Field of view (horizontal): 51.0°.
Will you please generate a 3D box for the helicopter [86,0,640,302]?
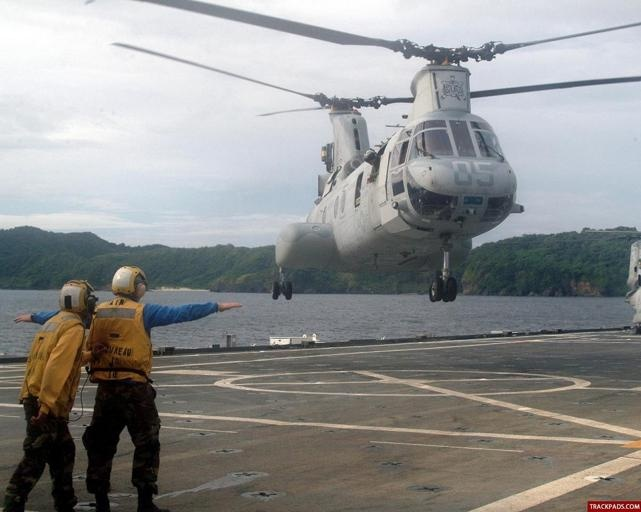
[{"bbox_3d":[1.699,-2.432,22.509,12.208,4.005,11.491,1,-4,-18],"label":"helicopter"}]
